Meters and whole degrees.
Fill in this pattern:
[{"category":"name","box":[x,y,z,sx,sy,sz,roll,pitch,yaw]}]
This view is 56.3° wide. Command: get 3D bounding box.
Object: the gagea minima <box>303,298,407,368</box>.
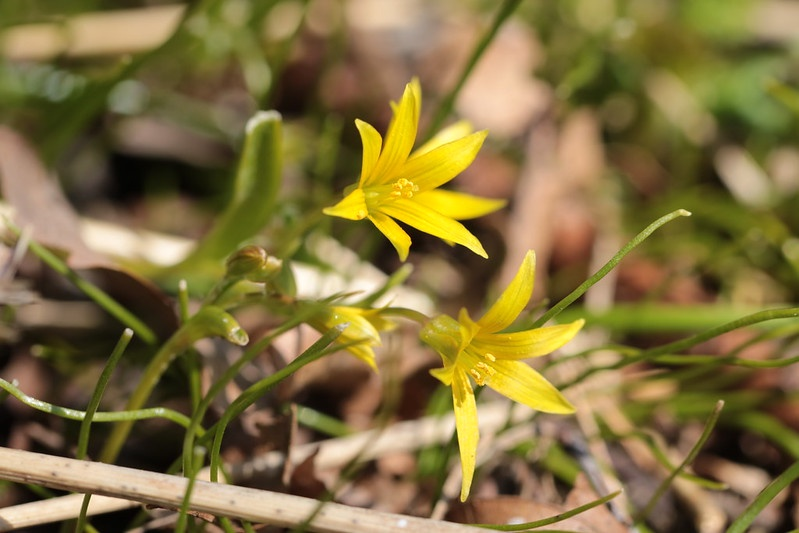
[{"category":"gagea minima","box":[-0.163,0.257,2.899,0.299,0.259,0.288,-16,46,-26]}]
